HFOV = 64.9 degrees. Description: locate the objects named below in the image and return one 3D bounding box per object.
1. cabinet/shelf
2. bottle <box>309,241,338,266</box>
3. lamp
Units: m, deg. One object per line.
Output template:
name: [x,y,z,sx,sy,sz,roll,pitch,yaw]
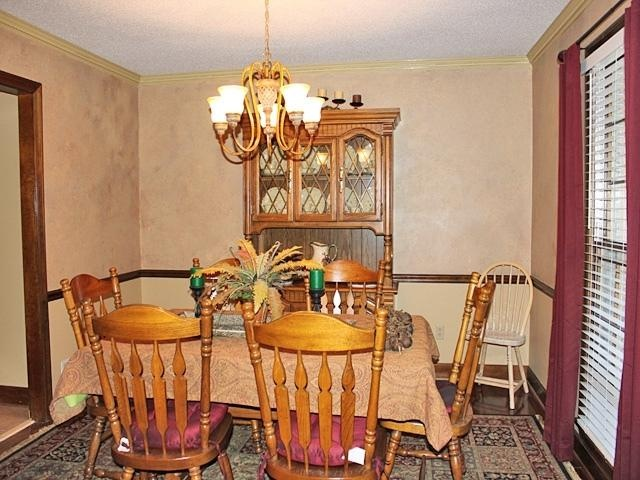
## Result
cabinet/shelf: [-0.011,-0.585,4.196,1.141,1.002,0.349,0,0,10]
bottle: [0.058,0.120,4.469,0.246,0.240,0.163,1,-2,-30]
lamp: [-0.373,-1.129,3.705,0.708,1.041,1.771,0,5,-4]
